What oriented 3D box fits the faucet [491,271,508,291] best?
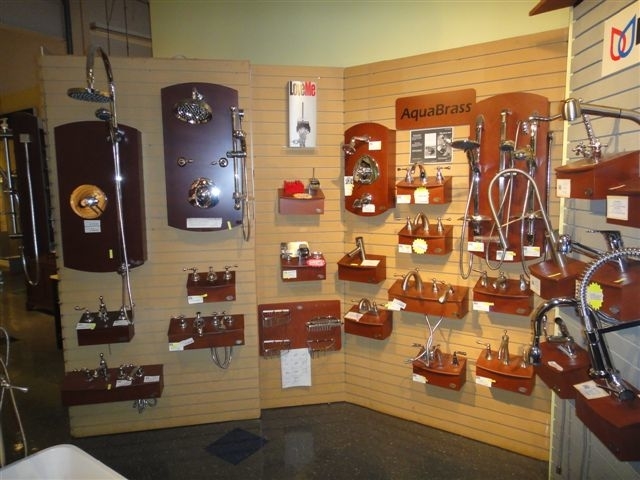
[{"bbox_3d":[1.603,0.363,4.340,0.055,0.120,0.121,21,31,28],"label":"faucet"}]

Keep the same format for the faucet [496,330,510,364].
[{"bbox_3d":[1.668,0.962,4.412,0.097,0.263,0.199,2,8,20],"label":"faucet"}]

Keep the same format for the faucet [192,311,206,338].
[{"bbox_3d":[-1.196,0.825,4.750,0.121,0.225,0.094,1,-16,-23],"label":"faucet"}]

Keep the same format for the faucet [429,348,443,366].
[{"bbox_3d":[1.108,1.112,4.674,0.121,0.164,0.168,-6,46,8],"label":"faucet"}]

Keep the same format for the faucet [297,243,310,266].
[{"bbox_3d":[-0.175,0.134,4.993,0.101,0.204,0.072,0,-4,-4],"label":"faucet"}]

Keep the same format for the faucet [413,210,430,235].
[{"bbox_3d":[0.947,-0.163,4.565,0.181,0.192,0.135,4,8,31],"label":"faucet"}]

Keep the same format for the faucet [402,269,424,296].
[{"bbox_3d":[0.885,0.384,4.716,0.198,0.190,0.248,1,7,10],"label":"faucet"}]

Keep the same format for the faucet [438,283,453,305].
[{"bbox_3d":[1.163,0.499,4.485,0.081,0.139,0.247,17,40,36],"label":"faucet"}]

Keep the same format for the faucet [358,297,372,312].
[{"bbox_3d":[0.463,0.667,5.044,0.138,0.132,0.124,0,7,6],"label":"faucet"}]

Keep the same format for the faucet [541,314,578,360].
[{"bbox_3d":[1.809,0.699,3.634,0.214,0.304,0.231,3,8,28],"label":"faucet"}]

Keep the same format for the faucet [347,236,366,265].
[{"bbox_3d":[0.374,0.093,4.948,0.194,0.240,0.189,-1,7,-3],"label":"faucet"}]

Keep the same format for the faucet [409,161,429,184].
[{"bbox_3d":[0.933,-0.640,4.610,0.166,0.207,0.365,1,7,11],"label":"faucet"}]

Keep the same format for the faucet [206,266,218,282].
[{"bbox_3d":[-1.073,0.333,4.829,0.124,0.128,0.114,-4,2,-10],"label":"faucet"}]
